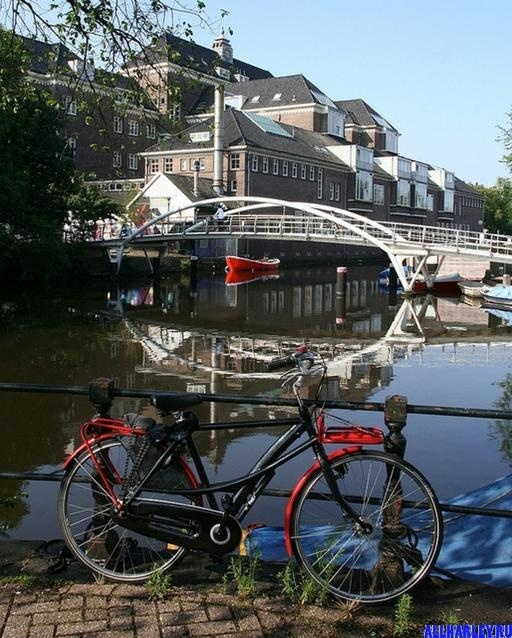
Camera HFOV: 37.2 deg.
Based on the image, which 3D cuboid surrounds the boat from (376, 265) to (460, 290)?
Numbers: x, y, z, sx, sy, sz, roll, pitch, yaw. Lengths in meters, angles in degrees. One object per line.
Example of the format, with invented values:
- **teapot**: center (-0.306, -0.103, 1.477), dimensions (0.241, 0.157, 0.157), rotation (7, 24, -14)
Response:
- **boat**: center (8.188, -1.716, 36.165), dimensions (3.088, 1.037, 1.639), rotation (0, 8, 5)

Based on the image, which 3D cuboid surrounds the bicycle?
- **bicycle**: center (-0.103, 0.840, 4.073), dimensions (2.283, 1.250, 0.883), rotation (-1, -1, 7)

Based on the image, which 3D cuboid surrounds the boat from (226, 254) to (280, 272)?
- **boat**: center (-0.241, -3.305, 46.155), dimensions (2.006, 0.979, 4.953), rotation (4, 8, 20)
